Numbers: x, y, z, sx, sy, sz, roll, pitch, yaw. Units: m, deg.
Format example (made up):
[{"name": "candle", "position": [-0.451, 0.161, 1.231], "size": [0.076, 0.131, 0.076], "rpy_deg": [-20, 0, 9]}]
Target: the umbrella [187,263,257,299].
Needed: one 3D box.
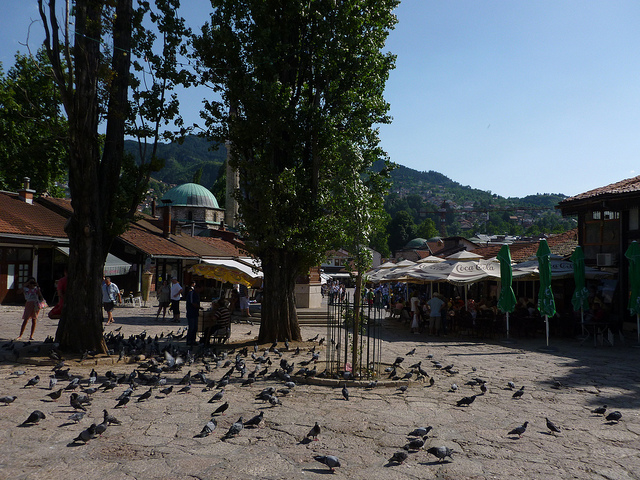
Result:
[{"name": "umbrella", "position": [-4.204, 1.636, 25.559], "size": [2.913, 1.395, 1.422], "rpy_deg": [-5, -9, 20]}]

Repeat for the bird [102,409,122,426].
[{"name": "bird", "position": [-3.976, 3.391, 10.975], "size": [0.324, 0.297, 0.433], "rpy_deg": [2, -10, -20]}]

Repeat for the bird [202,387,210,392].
[{"name": "bird", "position": [-2.662, 3.440, 13.234], "size": [0.152, 0.087, 0.162], "rpy_deg": [-7, -11, 30]}]

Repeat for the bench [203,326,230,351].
[{"name": "bench", "position": [-3.349, 3.079, 18.574], "size": [0.814, 0.896, 0.631], "rpy_deg": [1, -10, -2]}]

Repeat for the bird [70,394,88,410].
[{"name": "bird", "position": [-4.886, 3.280, 11.567], "size": [0.316, 0.280, 0.503], "rpy_deg": [3, -10, -25]}]

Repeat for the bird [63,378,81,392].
[{"name": "bird", "position": [-5.452, 3.155, 12.629], "size": [0.292, 0.231, 0.268], "rpy_deg": [-5, -10, 24]}]

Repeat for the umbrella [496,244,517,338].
[{"name": "umbrella", "position": [6.887, 1.758, 21.026], "size": [0.590, 3.409, 1.167], "rpy_deg": [-3, -8, 16]}]

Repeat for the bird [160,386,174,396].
[{"name": "bird", "position": [-3.427, 3.329, 12.744], "size": [0.261, 0.175, 0.278], "rpy_deg": [2, -10, -19]}]

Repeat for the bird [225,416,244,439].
[{"name": "bird", "position": [-1.512, 3.454, 10.630], "size": [0.425, 0.326, 0.205], "rpy_deg": [-20, 4, -32]}]

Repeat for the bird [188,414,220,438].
[{"name": "bird", "position": [-2.068, 3.542, 10.827], "size": [0.226, 0.381, 0.594], "rpy_deg": [-4, -17, 17]}]

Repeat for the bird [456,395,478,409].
[{"name": "bird", "position": [3.229, 3.485, 12.406], "size": [0.480, 0.367, 0.168], "rpy_deg": [6, -5, -1]}]

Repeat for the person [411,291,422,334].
[{"name": "person", "position": [4.164, 3.063, 24.583], "size": [0.530, 1.922, 0.635], "rpy_deg": [12, -22, -22]}]

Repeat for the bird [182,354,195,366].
[{"name": "bird", "position": [-3.424, 3.141, 15.185], "size": [0.119, 0.163, 0.357], "rpy_deg": [4, 6, 8]}]

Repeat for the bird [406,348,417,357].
[{"name": "bird", "position": [2.898, 3.478, 17.874], "size": [0.359, 0.273, 0.145], "rpy_deg": [17, -18, -42]}]

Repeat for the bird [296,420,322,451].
[{"name": "bird", "position": [-0.128, 3.560, 10.628], "size": [0.445, 0.535, 0.274], "rpy_deg": [-4, -6, 36]}]

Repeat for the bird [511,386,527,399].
[{"name": "bird", "position": [4.648, 3.484, 13.172], "size": [0.346, 0.277, 0.207], "rpy_deg": [-1, -9, -16]}]

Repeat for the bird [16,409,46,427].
[{"name": "bird", "position": [-5.516, 3.350, 10.886], "size": [0.459, 0.300, 0.220], "rpy_deg": [4, 8, -14]}]

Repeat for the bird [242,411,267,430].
[{"name": "bird", "position": [-1.275, 3.491, 11.083], "size": [0.359, 0.263, 0.514], "rpy_deg": [0, -9, -8]}]

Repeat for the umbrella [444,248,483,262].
[{"name": "umbrella", "position": [6.282, 0.652, 24.247], "size": [1.059, 0.419, 1.154], "rpy_deg": [0, -2, -4]}]

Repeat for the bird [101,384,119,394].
[{"name": "bird", "position": [-4.741, 3.307, 12.838], "size": [0.359, 0.194, 0.314], "rpy_deg": [-1, -9, -4]}]

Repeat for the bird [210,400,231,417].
[{"name": "bird", "position": [-2.037, 3.404, 11.574], "size": [0.359, 0.279, 0.511], "rpy_deg": [1, -9, -12]}]

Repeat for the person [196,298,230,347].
[{"name": "person", "position": [-3.373, 2.628, 18.567], "size": [0.875, 1.730, 0.644], "rpy_deg": [11, 12, 21]}]
